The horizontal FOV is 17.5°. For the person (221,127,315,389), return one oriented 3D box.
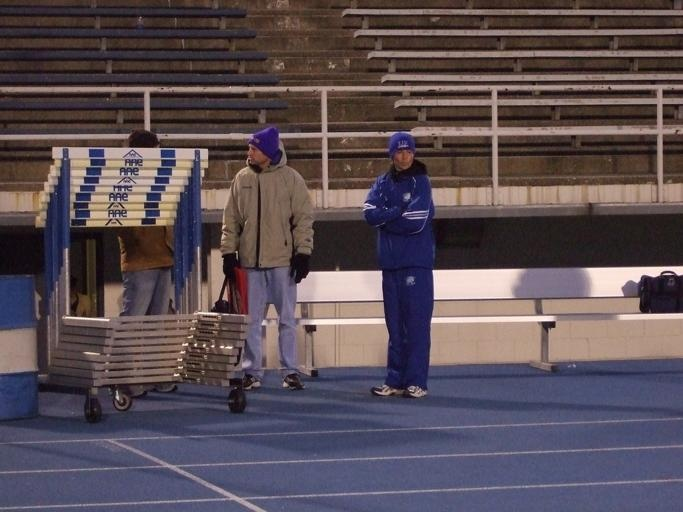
[{"bbox_3d":[-0.890,-0.200,25.075,0.804,3.433,0.801,0,8,-5],"label":"person"}]

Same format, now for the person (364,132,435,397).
[{"bbox_3d":[0.681,0.111,24.973,0.751,2.969,0.538,-1,-6,9],"label":"person"}]

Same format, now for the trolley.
[{"bbox_3d":[-2.351,0.255,24.485,1.540,4.030,1.400,-3,7,-39],"label":"trolley"}]
